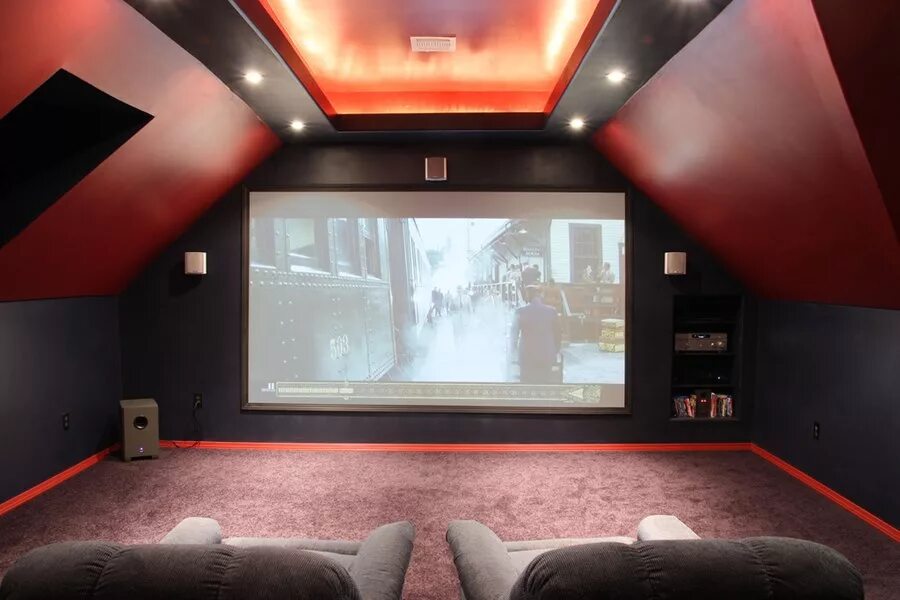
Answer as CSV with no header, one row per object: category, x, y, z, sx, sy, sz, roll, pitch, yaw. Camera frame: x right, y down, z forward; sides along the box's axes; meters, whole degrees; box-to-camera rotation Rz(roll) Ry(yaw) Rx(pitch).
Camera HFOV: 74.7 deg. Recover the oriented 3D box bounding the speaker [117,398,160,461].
speaker,-3.039,1.258,5.762,0.340,0.522,0.320,-7,16,-26
